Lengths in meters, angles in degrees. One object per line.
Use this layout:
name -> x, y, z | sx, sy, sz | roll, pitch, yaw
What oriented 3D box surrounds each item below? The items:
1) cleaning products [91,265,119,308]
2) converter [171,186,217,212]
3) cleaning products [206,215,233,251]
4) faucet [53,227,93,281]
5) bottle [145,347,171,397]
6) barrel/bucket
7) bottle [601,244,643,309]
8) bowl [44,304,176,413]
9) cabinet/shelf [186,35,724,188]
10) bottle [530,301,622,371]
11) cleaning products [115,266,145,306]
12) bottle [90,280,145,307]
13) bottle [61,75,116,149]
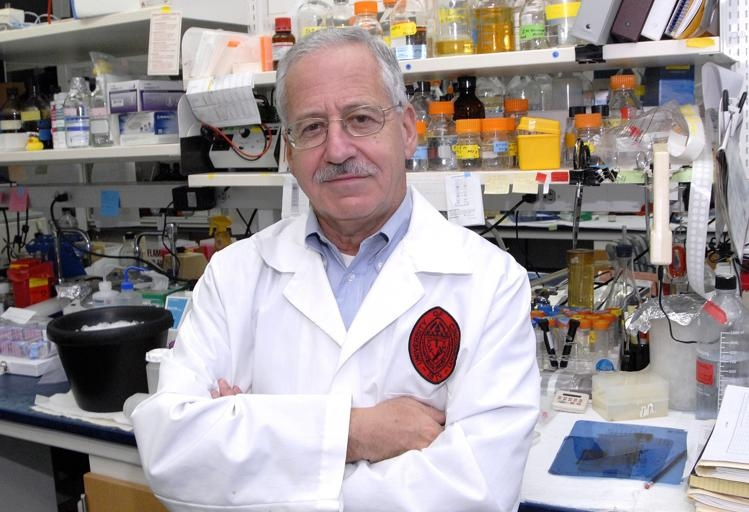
cleaning products -> -1.286, 0.152, 2.915 | 0.145, 0.214, 0.144 | 1, 7, 4
converter -> -0.866, -0.275, 2.903 | 0.191, 0.134, 0.121 | 4, 13, 12
cleaning products -> -0.767, -0.086, 3.034 | 0.114, 0.211, 0.076 | 1, 3, -9
faucet -> -1.693, -0.031, 3.428 | 0.159, 0.313, 0.673 | -7, 11, -25
bottle -> -0.766, 0.406, 2.102 | 0.106, 0.173, 0.107 | -1, -7, 0
barrel/bucket -> -0.933, 0.354, 2.191 | 0.384, 0.278, 0.383 | -2, 4, 0
bottle -> 0.962, 0.091, 2.382 | 0.123, 0.272, 0.115 | 3, 14, -1
bowl -> -0.940, 0.347, 2.193 | 0.384, 0.282, 0.383 | -2, 4, 0
cabinet/shelf -> 0.274, -0.442, 2.102 | 1.374, 0.358, 0.182 | -13, 33, -18
bottle -> 0.728, 0.301, 2.204 | 0.313, 0.188, 0.255 | 2, 11, 20
cleaning products -> -1.109, 0.145, 2.728 | 0.128, 0.178, 0.130 | 4, 10, 27
bottle -> -1.136, 0.181, 2.678 | 0.152, 0.098, 0.149 | 0, 4, 0
bottle -> -1.321, -0.664, 2.785 | 0.163, 0.324, 0.325 | -9, 12, -34
